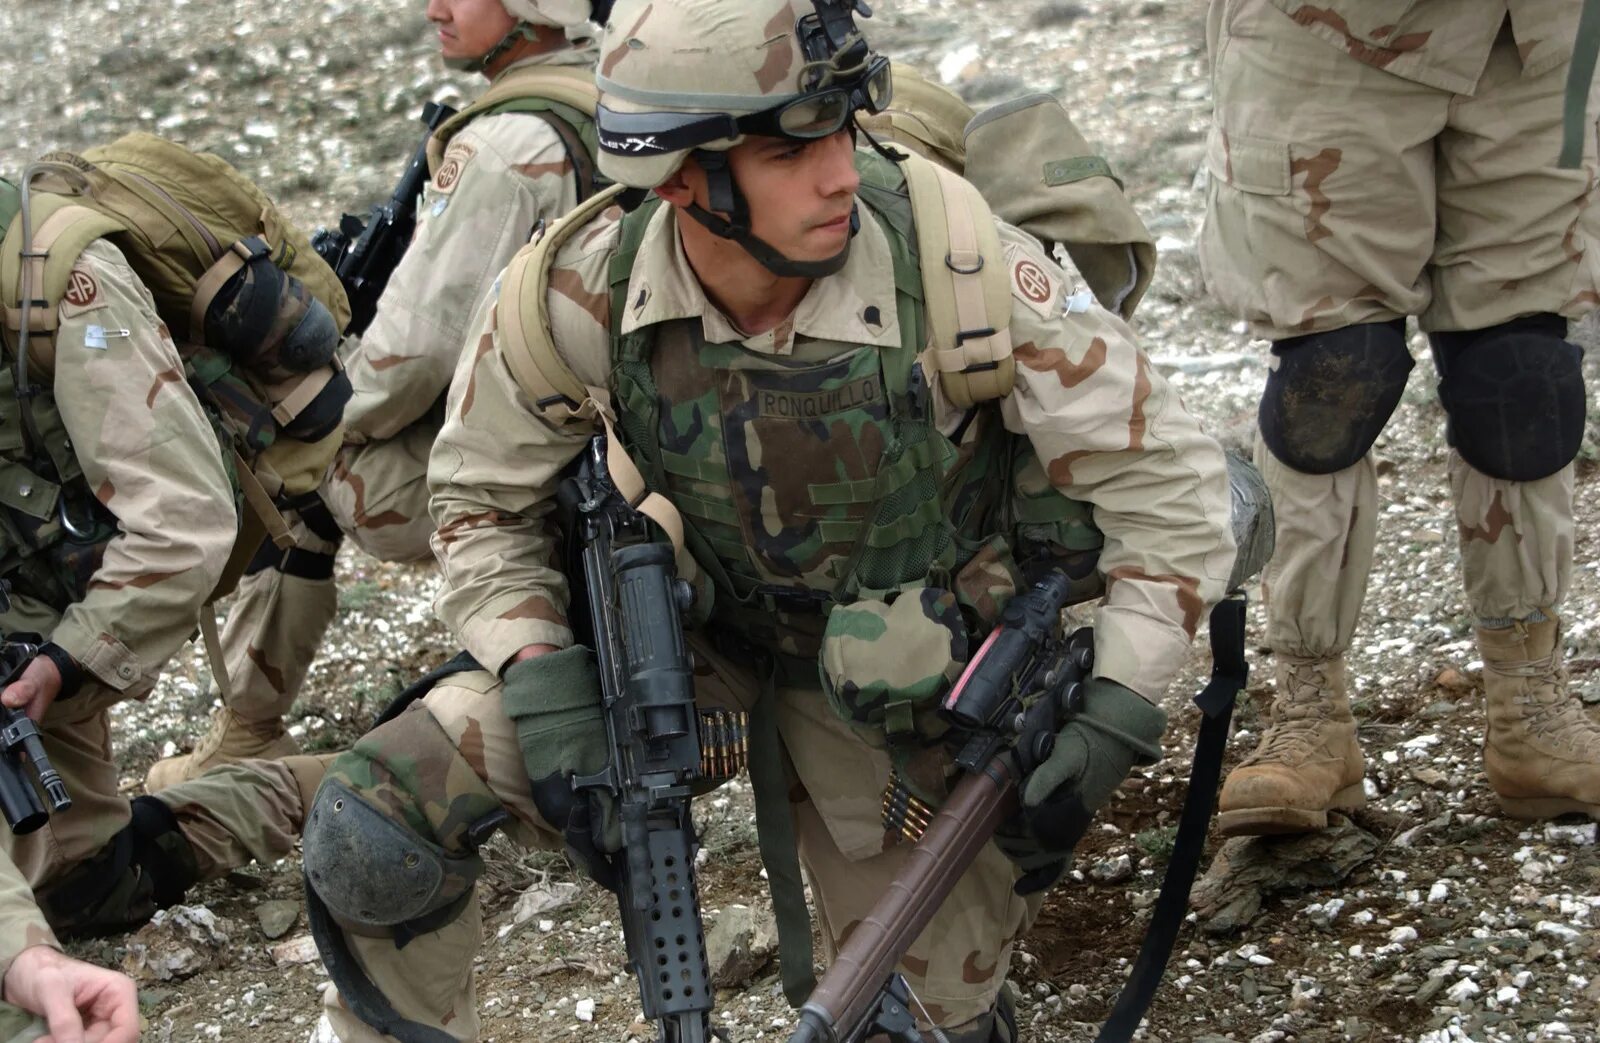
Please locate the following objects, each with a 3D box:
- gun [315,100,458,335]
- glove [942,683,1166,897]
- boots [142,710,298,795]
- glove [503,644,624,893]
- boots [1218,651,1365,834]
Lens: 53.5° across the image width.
[{"bbox_3d":[-1.554,-1.052,5.721,0.322,0.604,1.311,13,-22,-24],"label":"gun"},{"bbox_3d":[0.696,0.622,3.895,0.455,0.389,0.169,-25,29,-23],"label":"glove"},{"bbox_3d":[-2.063,0.795,5.566,0.484,0.219,0.167,-8,21,-13],"label":"boots"},{"bbox_3d":[-0.611,0.562,4.030,0.294,0.717,0.210,-12,-8,-30],"label":"glove"},{"bbox_3d":[1.494,0.685,4.750,0.501,0.501,0.614,4,17,32],"label":"boots"}]
